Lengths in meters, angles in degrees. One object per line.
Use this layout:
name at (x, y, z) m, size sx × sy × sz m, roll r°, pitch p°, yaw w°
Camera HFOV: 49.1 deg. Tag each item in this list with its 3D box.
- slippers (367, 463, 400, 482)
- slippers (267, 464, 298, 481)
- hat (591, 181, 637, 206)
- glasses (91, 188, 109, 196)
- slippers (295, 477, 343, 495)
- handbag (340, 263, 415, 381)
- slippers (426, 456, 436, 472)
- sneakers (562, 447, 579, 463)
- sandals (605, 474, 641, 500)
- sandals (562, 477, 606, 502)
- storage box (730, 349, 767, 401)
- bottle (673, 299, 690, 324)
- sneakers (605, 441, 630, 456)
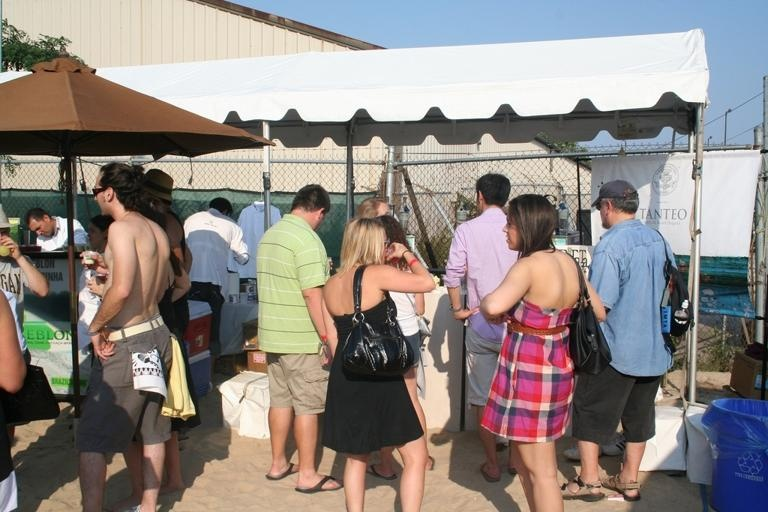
slippers at (-0.010, 2.242, 8.620) m, size 0.325 × 0.086 × 0.123 m, roll 15°, pitch 18°, yaw 40°
slippers at (-1.017, 2.232, 8.634) m, size 0.123 × 0.090 × 0.313 m, roll 9°, pitch 14°, yaw 37°
hat at (2.233, -0.646, 8.259) m, size 0.215 × 0.183 × 0.294 m, roll -9°, pitch 16°, yaw -27°
glasses at (-2.577, -0.590, 7.682) m, size 0.093 × 0.032 × 0.100 m, roll 6°, pitch 13°, yaw -6°
slippers at (-0.634, 2.285, 8.382) m, size 0.377 × 0.123 × 0.186 m, roll -1°, pitch 0°, yaw -12°
handbag at (-0.079, 0.595, 7.493) m, size 0.707 × 0.960 × 0.369 m, roll 3°, pitch -16°, yaw -39°
slippers at (0.485, 2.186, 8.831) m, size 0.067 × 0.085 × 0.208 m, roll -3°, pitch 4°, yaw 3°
sneakers at (1.982, 2.119, 8.973) m, size 0.145 × 0.111 × 0.092 m, roll 3°, pitch 0°, yaw 21°
sandals at (2.320, 2.266, 8.238) m, size 0.164 × 0.163 × 0.349 m, roll -6°, pitch 18°, yaw -29°
sandals at (1.909, 2.265, 8.198) m, size 0.431 × 0.209 × 0.229 m, roll 3°, pitch 3°, yaw 20°
storage box at (4.280, 1.446, 9.988) m, size 0.315 × 0.467 × 0.446 m, roll 0°, pitch 0°, yaw 5°
bottle at (2.854, 0.537, 8.090) m, size 0.146 × 0.218 × 0.078 m, roll 8°, pitch 3°, yaw 16°
sneakers at (2.450, 2.073, 8.984) m, size 0.300 × 0.133 × 0.247 m, roll -13°, pitch -7°, yaw 20°
